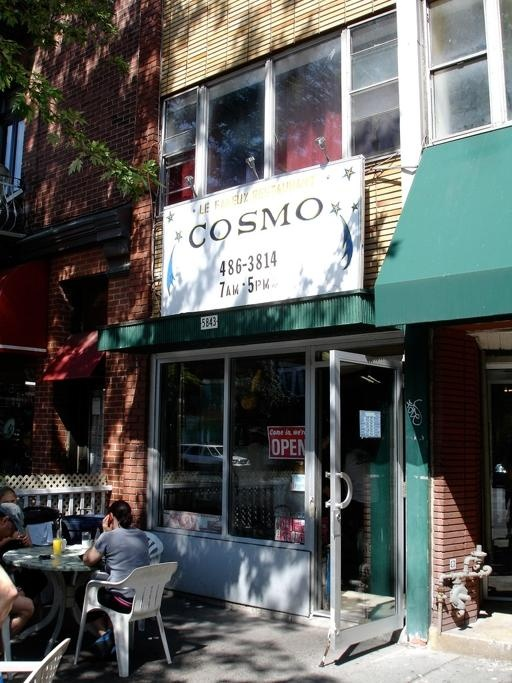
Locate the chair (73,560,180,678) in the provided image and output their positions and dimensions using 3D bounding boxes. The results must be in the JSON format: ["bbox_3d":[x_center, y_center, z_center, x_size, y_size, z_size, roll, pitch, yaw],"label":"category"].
[{"bbox_3d":[-1.018,1.983,4.846,0.664,1.252,0.730,-7,-15,32],"label":"chair"}]
